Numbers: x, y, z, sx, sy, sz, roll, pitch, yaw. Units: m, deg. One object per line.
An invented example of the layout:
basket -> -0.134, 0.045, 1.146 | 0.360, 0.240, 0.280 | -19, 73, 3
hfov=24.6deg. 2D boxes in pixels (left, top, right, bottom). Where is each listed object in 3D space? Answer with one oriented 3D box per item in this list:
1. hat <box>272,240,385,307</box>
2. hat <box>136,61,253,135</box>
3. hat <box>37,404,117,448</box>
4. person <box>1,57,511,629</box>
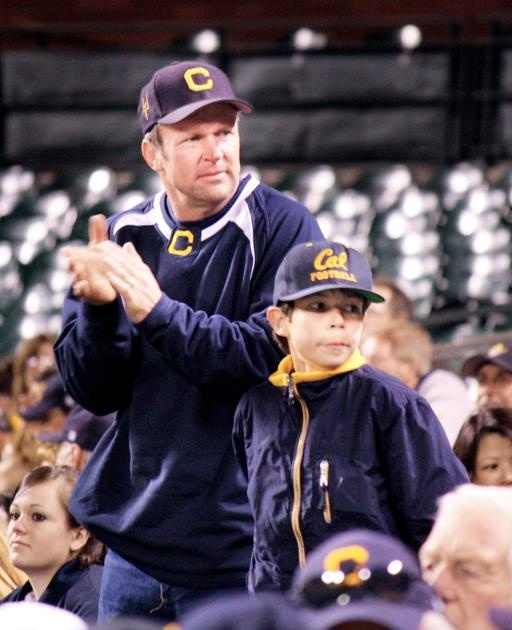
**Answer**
hat -> 0.137, -0.101, 2.417 | 0.224, 0.108, 0.244 | -1, 12, -6
hat -> -0.151, -0.530, 2.727 | 0.225, 0.135, 0.270 | -16, 14, -12
hat -> -0.588, 0.373, 3.931 | 0.271, 0.124, 0.162 | 8, 2, 28
person -> -0.135, 0.063, 2.613 | 0.714, 1.223, 0.644 | 4, 18, 21
